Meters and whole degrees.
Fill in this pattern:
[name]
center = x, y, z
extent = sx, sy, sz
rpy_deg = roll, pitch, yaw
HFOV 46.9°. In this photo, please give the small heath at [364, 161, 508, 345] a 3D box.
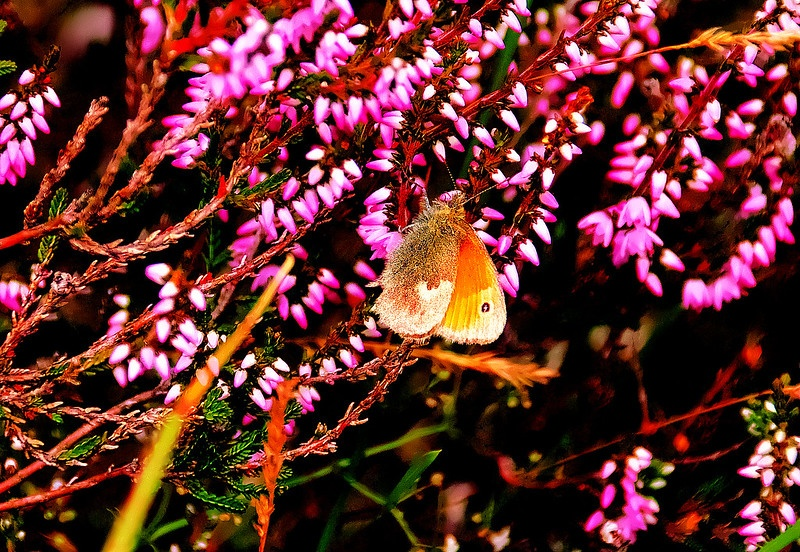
[small heath]
center = 0.081, -0.036, 1.835
extent = 0.182, 0.271, 0.275
rpy_deg = -4, 20, -45
